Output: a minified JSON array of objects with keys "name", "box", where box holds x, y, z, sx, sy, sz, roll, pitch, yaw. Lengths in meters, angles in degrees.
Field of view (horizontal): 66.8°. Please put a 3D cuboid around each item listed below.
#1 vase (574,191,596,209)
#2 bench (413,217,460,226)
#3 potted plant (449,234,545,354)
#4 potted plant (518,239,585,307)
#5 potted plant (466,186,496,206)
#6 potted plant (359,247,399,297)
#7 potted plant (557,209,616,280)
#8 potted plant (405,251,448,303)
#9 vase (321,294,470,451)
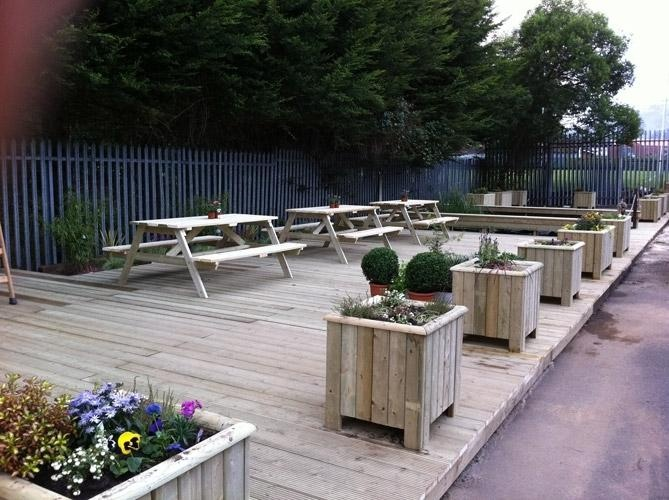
[{"name":"vase","box":[11.198,-2.263,22.787,0.809,0.665,0.568,7,10,20]},{"name":"bench","box":[2.604,-0.718,13.229,0.607,0.248,2.166,8,10,29]},{"name":"potted plant","box":[1.666,0.421,5.440,0.821,1.036,0.837,2,8,17]},{"name":"potted plant","box":[3.050,0.297,7.211,0.986,0.756,0.991,2,6,5]},{"name":"potted plant","box":[5.793,-2.105,19.991,1.066,0.643,2.934,6,9,17]},{"name":"potted plant","box":[0.670,0.305,7.090,0.538,0.611,0.545,9,8,30]},{"name":"potted plant","box":[4.303,-0.069,8.624,0.782,1.412,1.457,3,9,30]},{"name":"potted plant","box":[1.032,0.270,6.097,0.508,0.554,0.550,11,0,-3]},{"name":"vase","box":[0.439,0.858,3.673,1.034,0.783,1.023,-1,1,-26]}]
